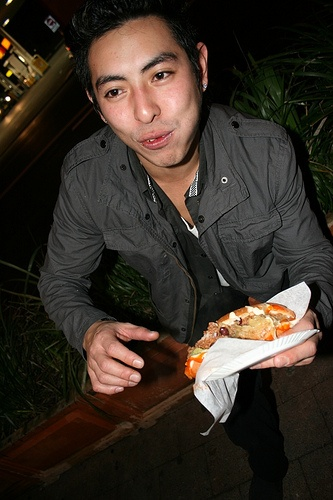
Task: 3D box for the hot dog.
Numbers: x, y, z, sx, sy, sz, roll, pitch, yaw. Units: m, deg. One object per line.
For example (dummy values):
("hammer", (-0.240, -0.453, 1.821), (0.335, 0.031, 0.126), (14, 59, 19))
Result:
("hot dog", (0.225, 0.201, 1.093), (0.299, 0.092, 0.202), (-20, -20, -48))
